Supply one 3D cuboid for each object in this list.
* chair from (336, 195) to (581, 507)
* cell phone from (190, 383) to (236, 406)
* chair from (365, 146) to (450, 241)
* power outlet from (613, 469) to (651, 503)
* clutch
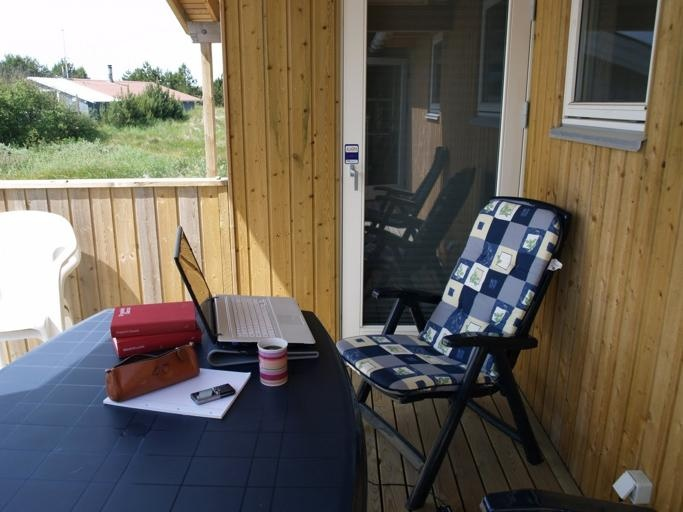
[{"bbox_3d":[0.547,0.360,2.455,1.020,1.154,0.774,-10,20,-28],"label":"chair"},{"bbox_3d":[-0.381,0.403,1.506,0.097,0.022,0.053,-9,18,-23],"label":"cell phone"},{"bbox_3d":[0.373,-0.434,3.436,0.507,0.652,0.441,4,19,-4],"label":"chair"},{"bbox_3d":[1.055,0.826,1.871,0.103,0.088,0.114,-3,12,6],"label":"power outlet"},{"bbox_3d":[-0.581,0.356,1.579,0.268,0.119,0.099,-11,10,-41],"label":"clutch"}]
